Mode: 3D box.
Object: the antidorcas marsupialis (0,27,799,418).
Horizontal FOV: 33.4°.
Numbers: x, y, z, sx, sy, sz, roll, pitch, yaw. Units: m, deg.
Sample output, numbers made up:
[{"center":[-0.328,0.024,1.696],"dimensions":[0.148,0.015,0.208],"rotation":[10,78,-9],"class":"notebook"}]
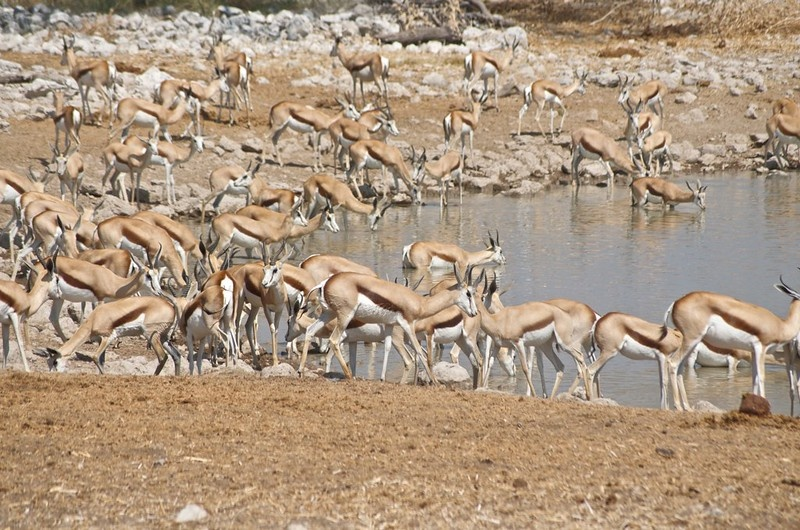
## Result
[{"center":[-0.560,-1.068,30.354],"dimensions":[18.774,6.882,17.338],"rotation":[0,0,18],"class":"antidorcas marsupialis"}]
